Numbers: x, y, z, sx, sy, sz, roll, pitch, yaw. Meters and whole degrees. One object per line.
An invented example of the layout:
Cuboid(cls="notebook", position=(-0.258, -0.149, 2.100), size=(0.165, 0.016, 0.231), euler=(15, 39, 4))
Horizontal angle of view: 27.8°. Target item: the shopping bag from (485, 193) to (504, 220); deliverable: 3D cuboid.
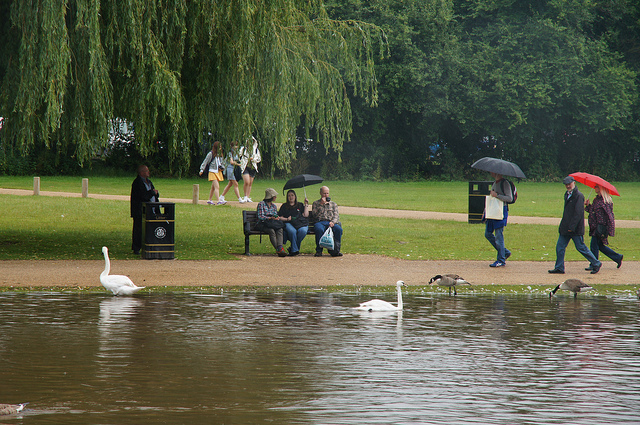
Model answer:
Cuboid(cls="shopping bag", position=(5.461, -0.204, 41.028), size=(0.593, 0.741, 0.356), euler=(5, 14, 17))

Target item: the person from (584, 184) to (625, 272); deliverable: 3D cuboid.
Cuboid(cls="person", position=(8.816, 0.430, 40.836), size=(1.256, 2.633, 1.137), euler=(4, -1, 43))

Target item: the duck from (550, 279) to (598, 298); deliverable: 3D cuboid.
Cuboid(cls="duck", position=(7.196, 2.137, 37.382), size=(1.260, 0.544, 0.624), euler=(1, 14, 0))

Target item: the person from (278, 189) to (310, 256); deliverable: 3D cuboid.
Cuboid(cls="person", position=(-0.877, 0.302, 42.891), size=(0.894, 2.219, 0.920), euler=(1, -2, -8))

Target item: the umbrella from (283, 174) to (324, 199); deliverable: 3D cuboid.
Cuboid(cls="umbrella", position=(-0.618, -0.824, 43.847), size=(1.130, 0.945, 2.087), euler=(2, 14, 2))

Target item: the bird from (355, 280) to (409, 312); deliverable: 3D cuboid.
Cuboid(cls="bird", position=(1.645, 2.308, 35.750), size=(1.513, 0.989, 0.577), euler=(-1, 5, -2))

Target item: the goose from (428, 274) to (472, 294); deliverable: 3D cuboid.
Cuboid(cls="goose", position=(3.712, 2.007, 37.774), size=(1.098, 0.585, 0.862), euler=(2, 14, 4))

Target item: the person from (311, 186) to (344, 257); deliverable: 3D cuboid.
Cuboid(cls="person", position=(0.165, 0.269, 42.651), size=(0.941, 2.286, 0.787), euler=(1, -1, 20))

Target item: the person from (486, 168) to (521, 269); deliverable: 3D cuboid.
Cuboid(cls="person", position=(5.654, 0.040, 41.386), size=(1.099, 3.232, 1.168), euler=(-1, -8, 42))

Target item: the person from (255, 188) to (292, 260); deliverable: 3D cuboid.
Cuboid(cls="person", position=(-1.561, 0.324, 42.894), size=(1.061, 2.372, 1.090), euler=(1, -1, 2))
